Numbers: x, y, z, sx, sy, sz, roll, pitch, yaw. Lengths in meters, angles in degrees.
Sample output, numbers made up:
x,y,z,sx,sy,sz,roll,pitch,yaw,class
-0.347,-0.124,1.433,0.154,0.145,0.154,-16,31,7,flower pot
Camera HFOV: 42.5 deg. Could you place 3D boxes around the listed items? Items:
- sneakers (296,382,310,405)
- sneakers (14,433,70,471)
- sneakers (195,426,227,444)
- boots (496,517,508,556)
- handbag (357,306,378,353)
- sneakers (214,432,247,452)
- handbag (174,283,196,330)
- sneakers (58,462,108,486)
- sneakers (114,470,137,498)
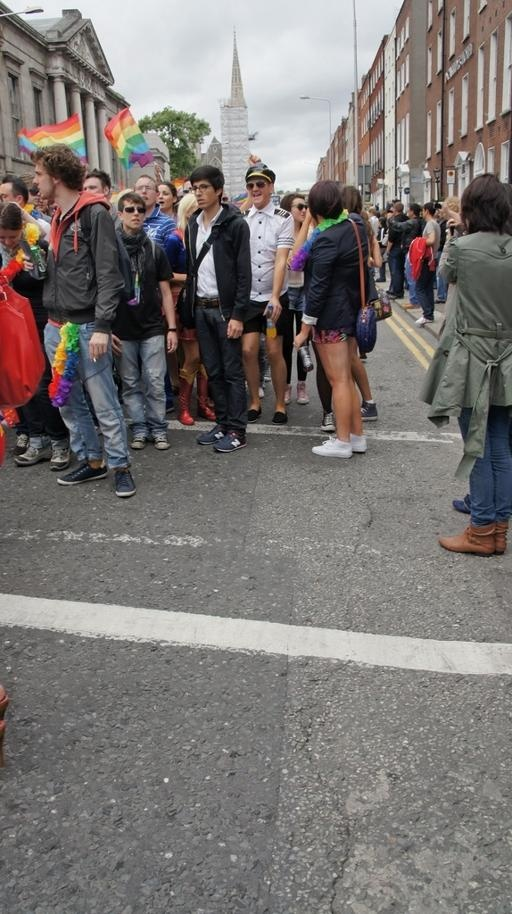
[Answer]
x,y,z,sx,sy,sz,roll,pitch,yaw,class
0.510,-0.711,7.528,0.113,0.234,0.263,0,-1,-2,sneakers
-1.631,-0.050,5.356,0.189,0.295,0.608,14,9,27,sneakers
-0.382,-0.218,5.821,0.109,0.151,0.330,12,19,41,sneakers
1.333,0.422,3.598,0.068,0.177,0.177,2,24,13,boots
0.872,-1.030,5.216,0.099,0.335,0.285,0,36,12,handbag
-0.213,-0.136,5.599,0.109,0.135,0.318,11,13,27,sneakers
-0.647,-1.355,5.926,0.131,0.400,0.269,0,4,20,handbag
-1.253,0.127,4.892,0.396,0.169,0.135,-7,19,-33,sneakers
-0.906,0.181,4.516,0.087,0.113,0.271,-2,20,-8,sneakers
